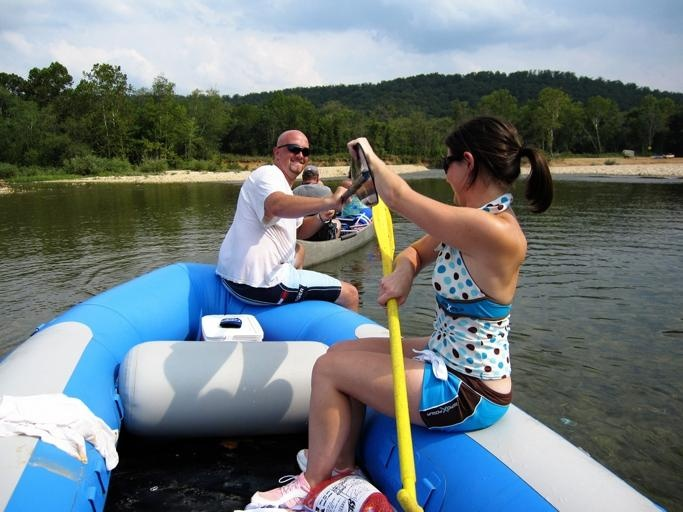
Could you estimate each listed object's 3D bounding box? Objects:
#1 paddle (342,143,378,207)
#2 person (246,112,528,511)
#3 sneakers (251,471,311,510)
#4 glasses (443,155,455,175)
[{"bbox_3d":[0.111,-0.423,2.648,0.055,0.254,0.245,-6,-3,-20],"label":"paddle"},{"bbox_3d":[0.435,0.292,2.682,1.306,1.961,0.462,-1,13,-6],"label":"person"},{"bbox_3d":[-0.295,1.230,2.760,0.407,0.198,0.147,4,-3,2],"label":"sneakers"},{"bbox_3d":[0.539,-0.470,2.662,0.023,0.089,0.079,5,6,14],"label":"glasses"}]
